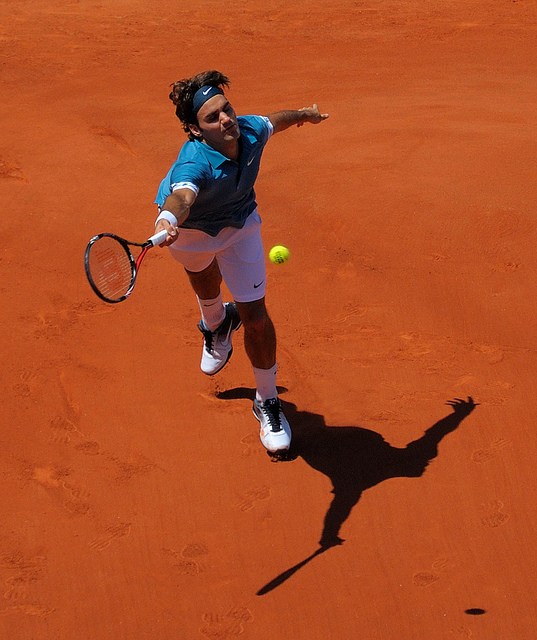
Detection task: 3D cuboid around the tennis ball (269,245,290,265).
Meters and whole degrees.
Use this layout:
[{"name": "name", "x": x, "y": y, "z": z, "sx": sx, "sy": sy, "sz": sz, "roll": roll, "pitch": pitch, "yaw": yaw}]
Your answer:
[{"name": "tennis ball", "x": 0.086, "y": -0.551, "z": 6.274, "sx": 0.138, "sy": 0.185, "sz": 0.165, "roll": -10, "pitch": 26, "yaw": -9}]

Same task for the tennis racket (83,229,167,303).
[{"name": "tennis racket", "x": -0.651, "y": -0.356, "z": 3.688, "sx": 0.049, "sy": 0.688, "sz": 0.291, "roll": 51, "pitch": 35, "yaw": 16}]
